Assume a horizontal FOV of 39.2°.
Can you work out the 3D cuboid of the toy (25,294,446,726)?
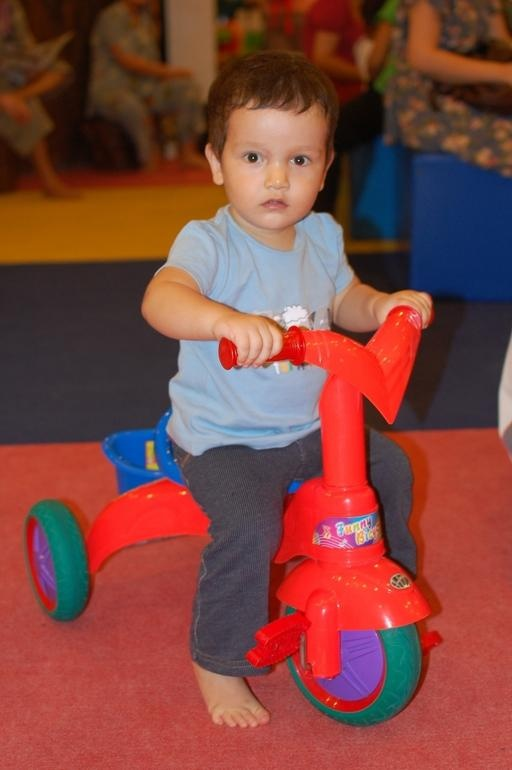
[{"bbox_3d":[0.032,0.077,0.857,0.367,0.376,0.510,-12,26,-36],"label":"toy"}]
